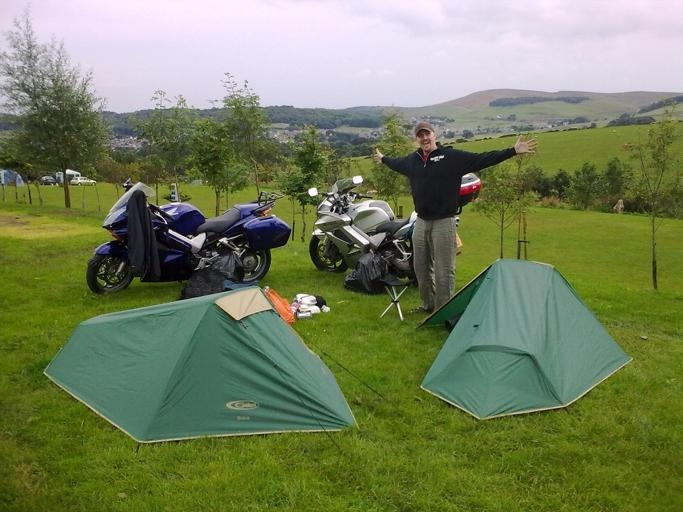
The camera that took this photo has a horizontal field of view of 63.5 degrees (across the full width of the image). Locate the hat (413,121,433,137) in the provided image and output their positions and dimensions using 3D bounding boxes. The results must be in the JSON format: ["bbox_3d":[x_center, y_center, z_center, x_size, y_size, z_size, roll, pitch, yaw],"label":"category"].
[{"bbox_3d":[1.378,-2.178,9.338,0.310,0.233,0.399,4,11,23],"label":"hat"}]

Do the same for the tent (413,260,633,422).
[{"bbox_3d":[2.531,1.083,7.763,2.717,1.797,1.485,-6,12,-26],"label":"tent"}]
